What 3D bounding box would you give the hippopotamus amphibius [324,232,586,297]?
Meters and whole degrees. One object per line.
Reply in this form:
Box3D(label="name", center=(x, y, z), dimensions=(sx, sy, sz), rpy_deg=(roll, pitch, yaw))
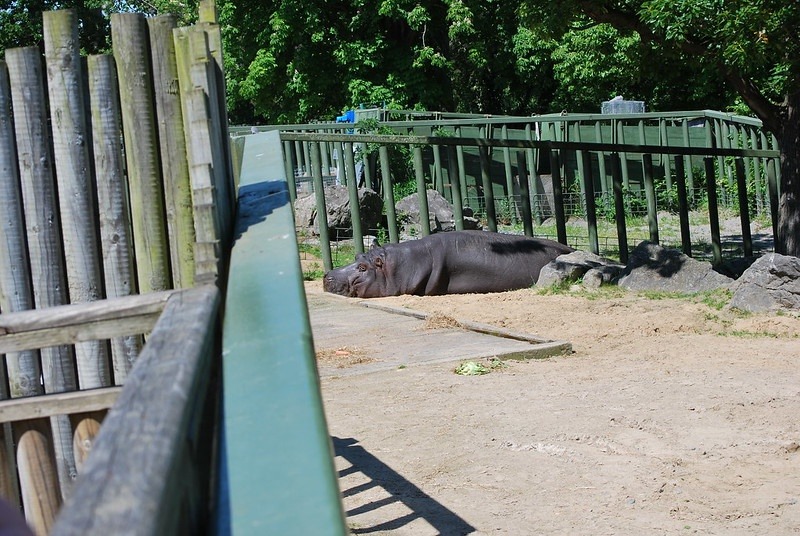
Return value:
Box3D(label="hippopotamus amphibius", center=(0.704, 0.053, 13.276), dimensions=(3.990, 1.050, 1.086), rpy_deg=(-4, 12, -6))
